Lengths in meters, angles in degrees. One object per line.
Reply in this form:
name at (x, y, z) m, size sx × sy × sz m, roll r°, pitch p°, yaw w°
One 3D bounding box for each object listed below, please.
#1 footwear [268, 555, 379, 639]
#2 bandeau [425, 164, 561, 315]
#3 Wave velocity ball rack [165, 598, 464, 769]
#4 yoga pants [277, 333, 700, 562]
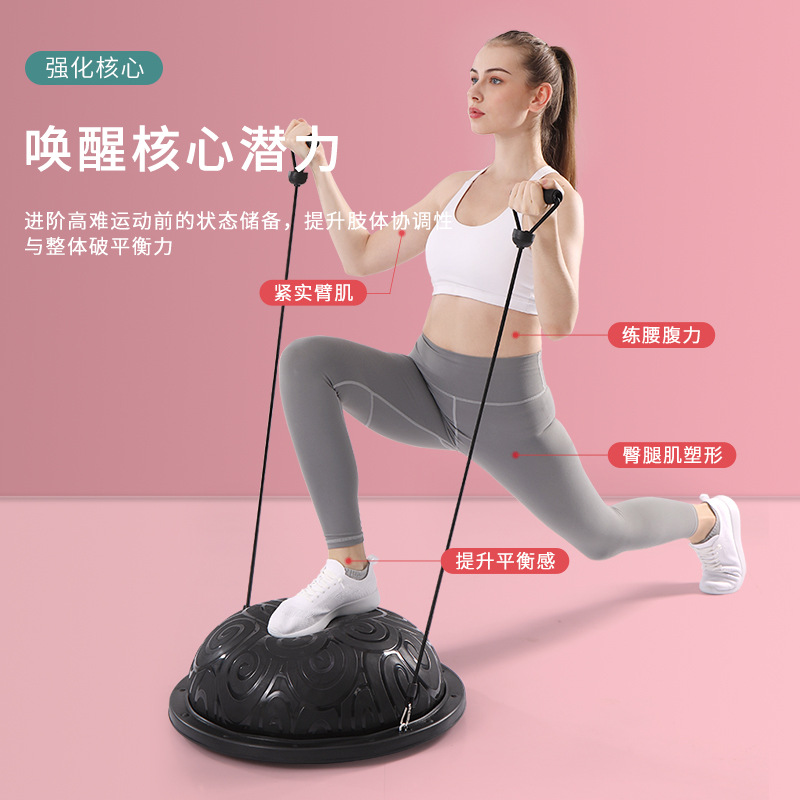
footwear at (-0.161, 0.404, 1.695) m, size 0.257 × 0.114 × 0.093 m, roll -19°, pitch 14°, yaw -32°
bandeau at (0.202, -0.386, 1.902) m, size 0.298 × 0.363 × 0.219 m, roll 3°, pitch 5°, yaw 21°
Wave velocity ball rack at (-0.179, 0.526, 1.640) m, size 0.514 × 0.155 × 0.531 m, roll 7°, pitch 11°, yaw 44°
yoga pants at (0.258, 0.120, 2.073) m, size 1.372 × 0.688 × 0.333 m, roll 4°, pitch -4°, yaw -40°
